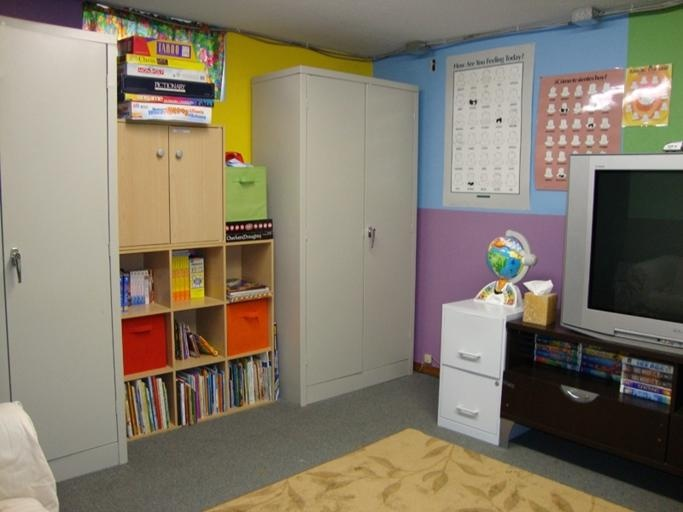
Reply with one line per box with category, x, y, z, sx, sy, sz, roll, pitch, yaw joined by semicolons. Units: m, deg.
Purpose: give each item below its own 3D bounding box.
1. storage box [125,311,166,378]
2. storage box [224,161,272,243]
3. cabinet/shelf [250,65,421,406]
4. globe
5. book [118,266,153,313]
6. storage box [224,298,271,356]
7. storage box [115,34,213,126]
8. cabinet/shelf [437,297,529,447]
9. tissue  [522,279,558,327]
storage box;-1.308;0.610;3.695;0.344;0.362;0.281;-10;-6;13
storage box;-0.696;-0.403;3.877;0.442;0.677;0.444;-1;2;-29
cabinet/shelf;-0.003;-0.182;4.226;1.106;2.485;0.544;-6;12;-29
globe;1.162;0.069;3.728;0.410;0.537;0.291;8;7;44
book;-1.419;0.207;3.662;0.202;0.297;0.281;1;3;37
storage box;-0.706;0.477;4.041;0.410;0.434;0.338;-2;2;-42
storage box;-1.134;-1.140;3.429;0.591;0.508;0.181;-5;12;-26
cabinet/shelf;1.000;0.806;3.749;0.532;0.842;0.538;6;-1;-44
tissue ;1.290;0.296;3.438;0.155;0.280;0.178;7;14;38
